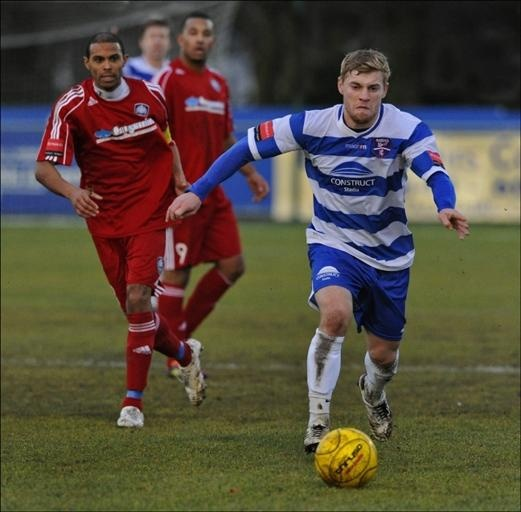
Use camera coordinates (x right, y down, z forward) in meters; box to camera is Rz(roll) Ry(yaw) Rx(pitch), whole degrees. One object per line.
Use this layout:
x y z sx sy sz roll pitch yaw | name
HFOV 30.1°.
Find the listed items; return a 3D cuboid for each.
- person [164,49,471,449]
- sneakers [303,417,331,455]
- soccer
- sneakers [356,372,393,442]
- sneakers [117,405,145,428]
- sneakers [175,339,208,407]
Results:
0.428 -0.050 5.417 1.250 2.172 0.642 -1 8 -4 | person
0.294 0.961 5.126 0.090 0.096 0.233 0 2 7 | sneakers
0.430 1.010 4.847 0.303 0.254 0.190 0 8 3 | soccer
0.681 0.873 5.594 0.143 0.369 0.165 -14 -12 2 | sneakers
-0.745 0.940 5.634 0.115 0.093 0.140 5 -30 -9 | sneakers
-0.408 0.731 5.999 0.171 0.406 0.139 -11 1 -4 | sneakers
